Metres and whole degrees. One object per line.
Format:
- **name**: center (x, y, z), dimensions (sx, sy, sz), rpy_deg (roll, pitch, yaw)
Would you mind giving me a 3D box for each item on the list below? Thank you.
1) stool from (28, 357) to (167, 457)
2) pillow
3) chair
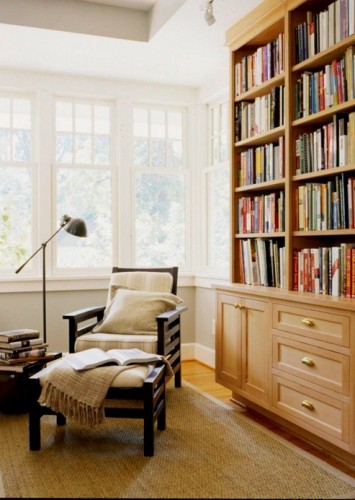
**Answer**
- **stool**: center (-0.337, 0.651, 2.058), dimensions (0.678, 0.364, 0.500), rpy_deg (-11, -14, -3)
- **pillow**: center (-0.258, 0.389, 2.691), dimensions (0.528, 0.272, 0.346), rpy_deg (-1, -5, 10)
- **chair**: center (-0.337, 0.556, 2.733), dimensions (0.690, 0.879, 0.755), rpy_deg (1, -3, 5)
